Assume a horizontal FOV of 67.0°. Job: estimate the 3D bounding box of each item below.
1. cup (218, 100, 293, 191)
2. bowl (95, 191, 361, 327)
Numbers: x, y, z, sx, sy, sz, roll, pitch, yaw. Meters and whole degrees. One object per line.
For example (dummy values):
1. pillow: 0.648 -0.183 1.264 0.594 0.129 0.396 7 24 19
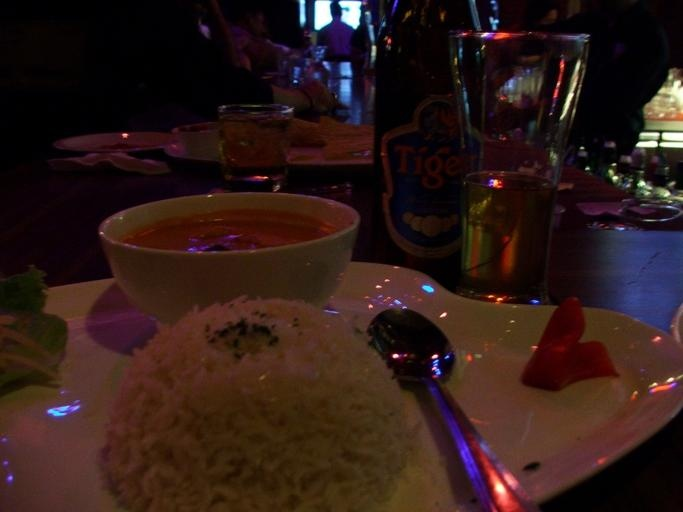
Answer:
1. cup: -0.173 -0.221 1.060 0.148 0.145 0.145 4 26 -2
2. bowl: -0.121 -0.034 0.552 0.210 0.079 0.194 -2 16 0
